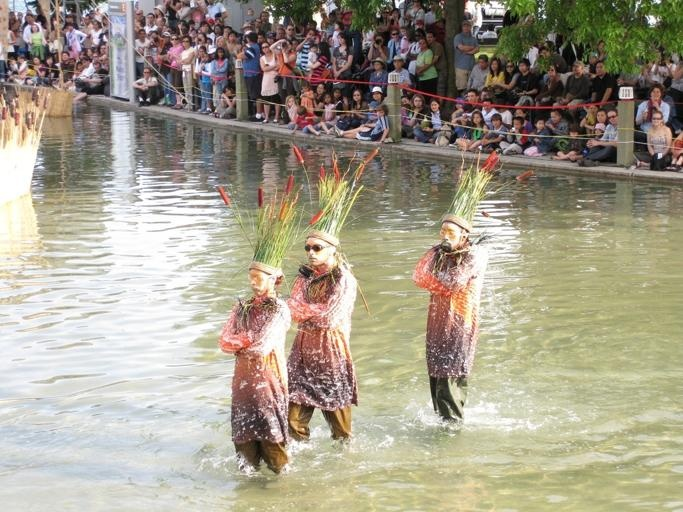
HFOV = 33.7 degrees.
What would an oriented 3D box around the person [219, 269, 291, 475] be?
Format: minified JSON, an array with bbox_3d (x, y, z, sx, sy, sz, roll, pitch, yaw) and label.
[{"bbox_3d":[-0.620,0.834,8.140,0.488,1.491,0.265,-1,9,-10],"label":"person"}]

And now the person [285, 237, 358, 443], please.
[{"bbox_3d":[-0.141,0.622,8.448,0.516,1.605,0.303,0,9,-2],"label":"person"}]

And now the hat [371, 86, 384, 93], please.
[{"bbox_3d":[0.684,-3.112,21.444,0.176,0.063,0.204,2,2,6],"label":"hat"}]

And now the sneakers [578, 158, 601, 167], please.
[{"bbox_3d":[3.924,-1.450,17.931,0.354,0.120,0.101,-11,26,-21],"label":"sneakers"}]

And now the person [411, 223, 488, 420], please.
[{"bbox_3d":[0.836,0.489,8.798,0.547,1.601,0.294,1,9,2],"label":"person"}]
